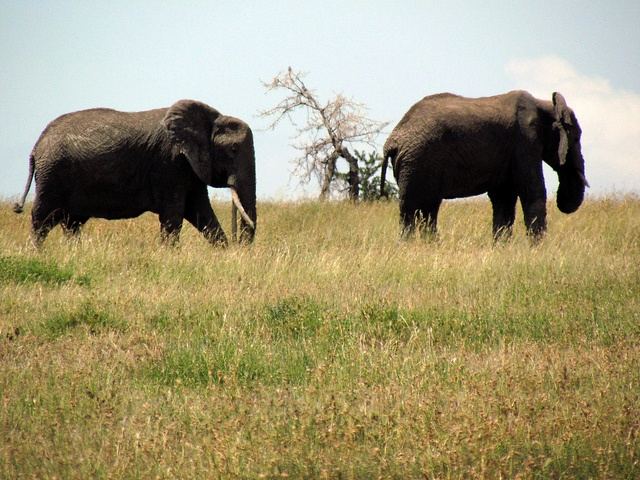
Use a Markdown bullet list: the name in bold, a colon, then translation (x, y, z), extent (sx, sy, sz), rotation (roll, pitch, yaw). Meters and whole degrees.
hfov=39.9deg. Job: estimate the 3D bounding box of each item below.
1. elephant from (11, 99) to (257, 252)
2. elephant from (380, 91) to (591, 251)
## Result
- **elephant**: translation (-3.033, -0.926, 15.525), extent (4.368, 3.155, 2.143), rotation (-3, 16, -11)
- **elephant**: translation (3.148, -1.158, 15.703), extent (3.321, 3.139, 1.612), rotation (-4, 16, -2)
